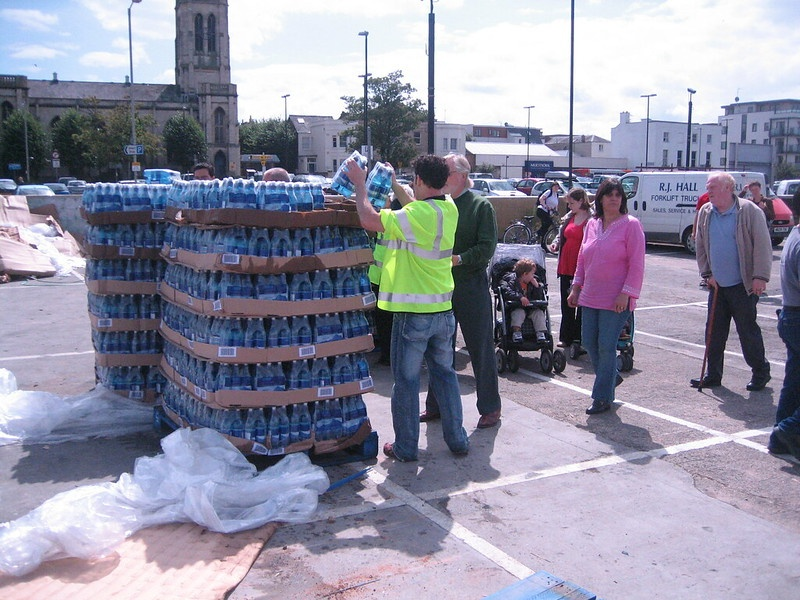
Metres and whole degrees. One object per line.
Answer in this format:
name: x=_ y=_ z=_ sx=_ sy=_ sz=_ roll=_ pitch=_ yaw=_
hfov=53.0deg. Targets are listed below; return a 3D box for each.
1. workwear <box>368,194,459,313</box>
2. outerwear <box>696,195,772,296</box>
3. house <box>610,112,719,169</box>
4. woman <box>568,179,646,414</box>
workwear: x=0.119 y=-0.407 z=6.924 sx=0.893 sy=0.820 sz=0.545 roll=-16 pitch=27 yaw=-42
outerwear: x=3.697 y=-0.610 z=8.890 sx=0.330 sy=1.008 sz=0.952 roll=-9 pitch=16 yaw=-37
house: x=33.613 y=-20.077 z=101.457 sx=13.534 sy=6.688 sz=16.565 roll=4 pitch=13 yaw=15
woman: x=2.140 y=-0.036 z=8.243 sx=0.574 sy=2.352 sz=0.644 roll=2 pitch=12 yaw=4
